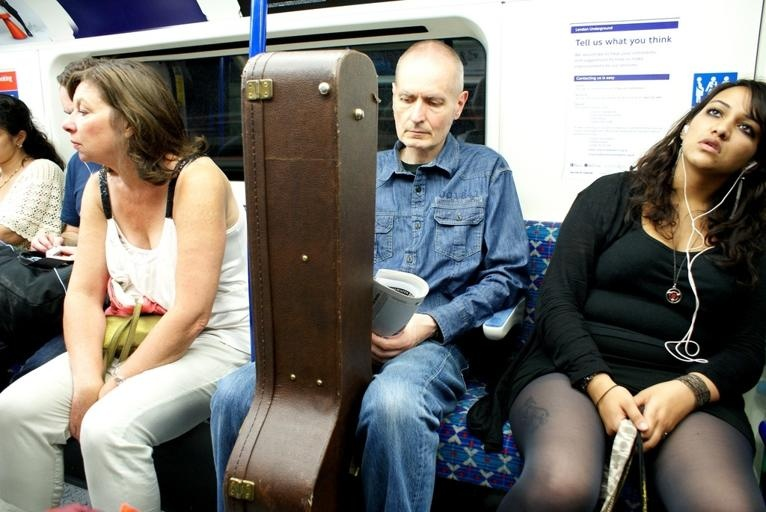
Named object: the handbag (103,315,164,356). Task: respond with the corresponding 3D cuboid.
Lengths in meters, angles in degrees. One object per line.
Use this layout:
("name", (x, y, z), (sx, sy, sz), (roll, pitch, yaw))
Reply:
("handbag", (-1.134, 0.354, 2.585), (0.202, 0.064, 0.207), (2, 16, 29))

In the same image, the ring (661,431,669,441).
("ring", (1.076, 0.686, 2.203), (0.034, 0.028, 0.007), (-9, 22, -13))

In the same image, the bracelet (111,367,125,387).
("bracelet", (-1.115, 0.518, 2.437), (0.046, 0.065, 0.071), (-19, 27, -34))

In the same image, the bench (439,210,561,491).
("bench", (0.460, 0.505, 2.694), (0.516, 0.689, 0.816), (-15, 13, 33))

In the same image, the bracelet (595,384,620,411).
("bracelet", (0.869, 0.553, 2.253), (0.078, 0.085, 0.022), (-38, 55, -11))

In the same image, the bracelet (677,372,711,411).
("bracelet", (1.215, 0.535, 2.250), (0.057, 0.102, 0.122), (-50, 7, -13))
